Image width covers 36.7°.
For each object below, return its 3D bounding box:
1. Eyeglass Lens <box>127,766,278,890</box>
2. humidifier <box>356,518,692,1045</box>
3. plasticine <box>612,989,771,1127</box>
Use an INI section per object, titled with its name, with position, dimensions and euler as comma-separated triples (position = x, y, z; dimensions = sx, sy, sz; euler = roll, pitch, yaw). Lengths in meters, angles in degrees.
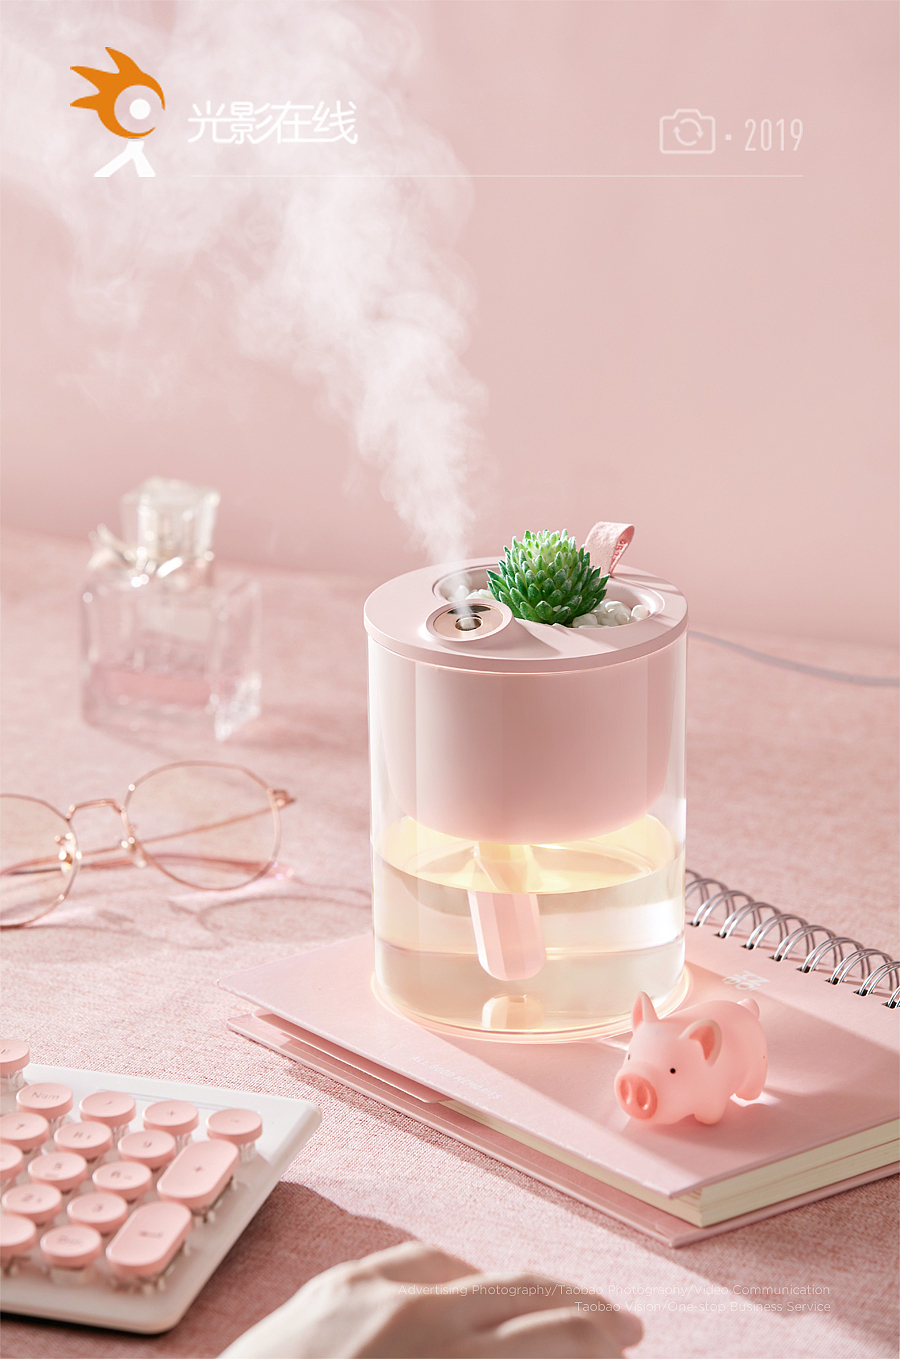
[Eyeglass Lens]
position = -0.189, 0.102, 0.975
dimensions = 0.109, 0.091, 0.029
euler = -4, -28, 10
[humidifier]
position = 0.040, 0.052, 0.698
dimensions = 0.184, 0.225, 0.180
euler = -9, 26, -18
[plasticine]
position = 0.104, 0.159, 0.582
dimensions = 0.085, 0.050, 0.046
euler = -10, 14, -43
